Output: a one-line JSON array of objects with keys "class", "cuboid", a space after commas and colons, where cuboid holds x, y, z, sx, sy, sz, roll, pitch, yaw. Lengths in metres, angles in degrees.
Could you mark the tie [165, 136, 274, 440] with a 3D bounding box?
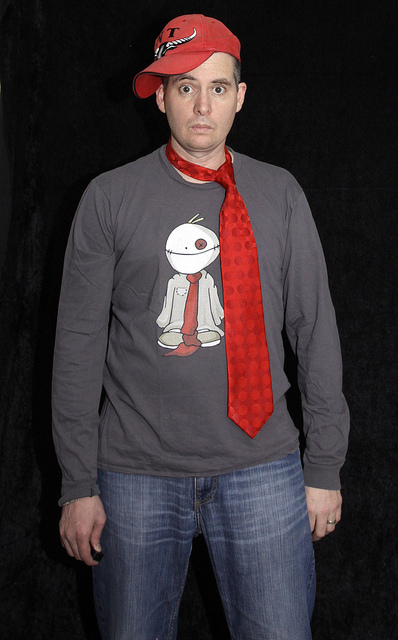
[{"class": "tie", "cuboid": [0.076, -0.030, 0.958, 0.115, 0.546, 0.021, -3, -4, -10]}]
